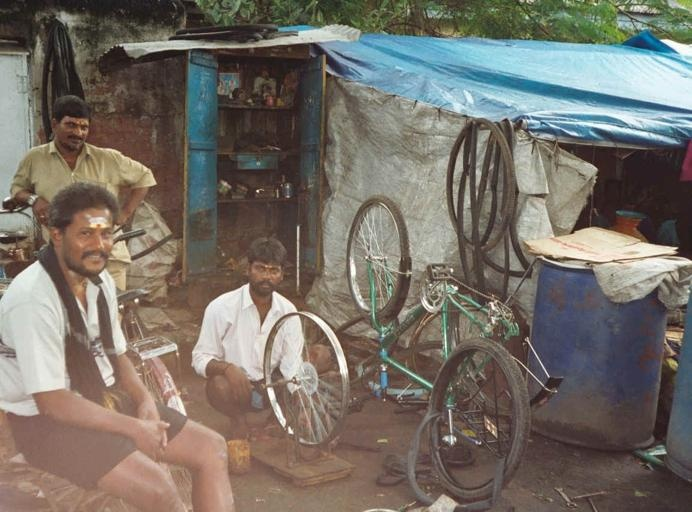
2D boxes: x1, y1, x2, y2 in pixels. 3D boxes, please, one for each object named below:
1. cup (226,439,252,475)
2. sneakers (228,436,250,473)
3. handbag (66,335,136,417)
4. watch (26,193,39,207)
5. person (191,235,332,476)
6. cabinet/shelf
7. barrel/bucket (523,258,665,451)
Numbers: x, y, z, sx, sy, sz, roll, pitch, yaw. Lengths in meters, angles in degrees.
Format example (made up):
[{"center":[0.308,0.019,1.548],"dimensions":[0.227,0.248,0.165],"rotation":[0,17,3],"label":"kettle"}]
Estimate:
[{"center":[-0.801,1.553,5.927],"dimensions":[0.204,0.235,0.197],"rotation":[2,-2,0],"label":"cup"},{"center":[-0.829,1.547,5.914],"dimensions":[0.176,0.210,0.183],"rotation":[1,2,26],"label":"sneakers"},{"center":[-1.536,0.732,4.730],"dimensions":[0.122,0.501,0.338],"rotation":[-23,-9,41],"label":"handbag"},{"center":[-2.558,-0.449,6.314],"dimensions":[0.105,0.086,0.059],"rotation":[-16,8,43],"label":"watch"},{"center":[-0.624,0.730,6.032],"dimensions":[1.073,1.564,1.106],"rotation":[3,2,5],"label":"person"},{"center":[-1.192,-1.033,9.498],"dimensions":[1.557,2.894,1.536],"rotation":[1,4,-2],"label":"cabinet/shelf"},{"center":[1.978,0.841,6.588],"dimensions":[1.288,1.523,1.328],"rotation":[2,3,0],"label":"barrel/bucket"}]
